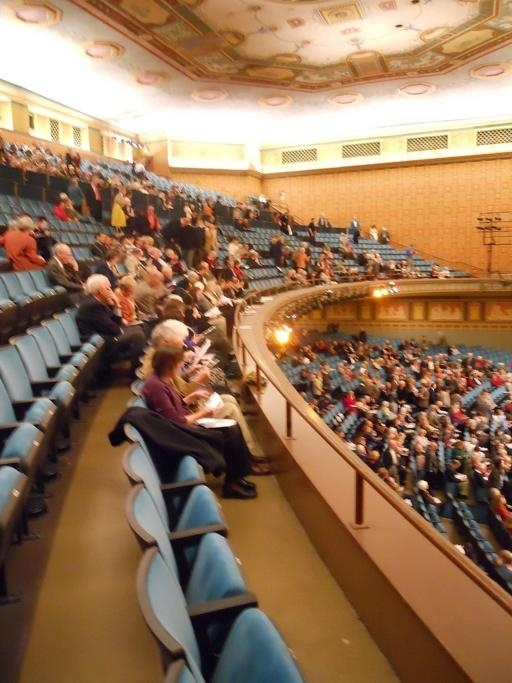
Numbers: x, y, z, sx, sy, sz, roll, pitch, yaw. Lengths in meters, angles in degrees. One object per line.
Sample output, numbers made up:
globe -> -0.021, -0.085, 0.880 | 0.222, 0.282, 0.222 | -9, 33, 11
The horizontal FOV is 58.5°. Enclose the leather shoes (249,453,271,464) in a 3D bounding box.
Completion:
leather shoes -> 0.022, 0.616, 2.379 | 0.113, 0.081, 0.038 | -5, 48, 4

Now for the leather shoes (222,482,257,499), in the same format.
leather shoes -> -0.074, 0.648, 1.989 | 0.125, 0.050, 0.064 | -4, 16, -10
